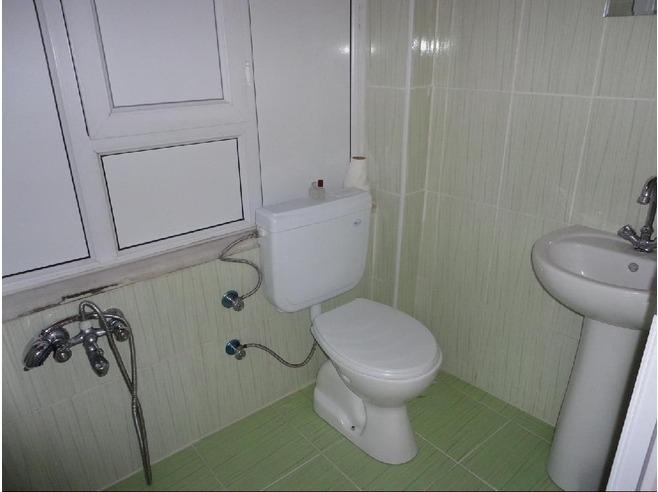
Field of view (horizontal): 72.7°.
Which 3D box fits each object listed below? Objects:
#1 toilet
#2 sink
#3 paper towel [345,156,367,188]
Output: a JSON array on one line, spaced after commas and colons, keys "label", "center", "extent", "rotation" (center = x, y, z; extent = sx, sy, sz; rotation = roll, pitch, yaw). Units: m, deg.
[{"label": "toilet", "center": [0.107, 0.366, 1.944], "extent": [0.525, 1.068, 0.703], "rotation": [-20, 29, -31]}, {"label": "sink", "center": [0.964, 0.106, 1.649], "extent": [0.399, 0.194, 0.408], "rotation": [17, 33, 37]}, {"label": "paper towel", "center": [0.131, -0.358, 2.170], "extent": [0.105, 0.168, 0.101], "rotation": [10, 20, 17]}]
